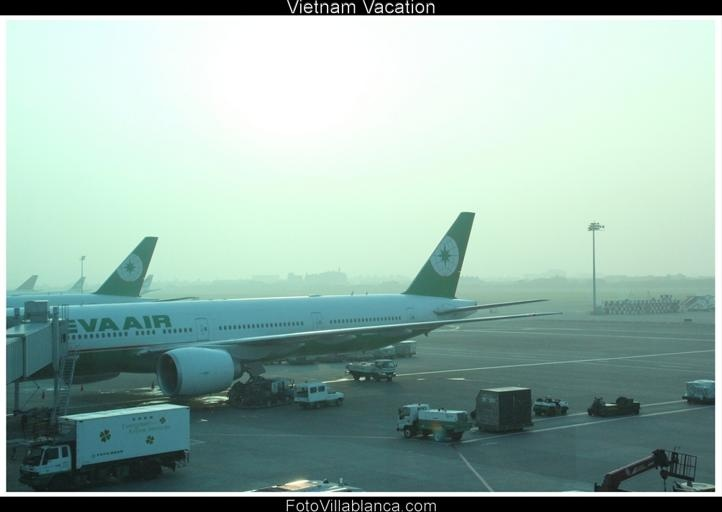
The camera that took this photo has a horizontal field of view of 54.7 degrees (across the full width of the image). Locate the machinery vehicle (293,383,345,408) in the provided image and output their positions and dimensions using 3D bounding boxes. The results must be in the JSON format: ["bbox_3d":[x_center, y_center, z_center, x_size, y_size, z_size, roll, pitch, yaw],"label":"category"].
[{"bbox_3d":[-1.750,5.947,30.178,1.861,0.783,1.085,-4,5,-34],"label":"machinery vehicle"}]

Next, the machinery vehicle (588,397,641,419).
[{"bbox_3d":[10.448,6.301,28.934,1.720,0.635,0.993,-3,4,-14],"label":"machinery vehicle"}]

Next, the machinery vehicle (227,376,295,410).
[{"bbox_3d":[-4.378,6.026,30.893,2.843,1.027,1.627,-1,1,-7],"label":"machinery vehicle"}]

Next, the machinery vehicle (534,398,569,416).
[{"bbox_3d":[7.967,6.305,29.085,1.263,0.466,0.696,-3,8,-12],"label":"machinery vehicle"}]

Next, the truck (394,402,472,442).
[{"bbox_3d":[2.710,6.036,25.367,2.230,0.950,1.260,1,0,25],"label":"truck"}]

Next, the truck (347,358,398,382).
[{"bbox_3d":[0.478,5.976,36.661,2.134,0.770,1.214,-2,-1,33],"label":"truck"}]

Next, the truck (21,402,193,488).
[{"bbox_3d":[-7.623,5.737,21.828,5.303,2.130,2.001,2,-4,-32],"label":"truck"}]

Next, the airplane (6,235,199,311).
[{"bbox_3d":[-15.165,1.635,42.309,10.398,3.355,9.574,-1,3,-26],"label":"airplane"}]
